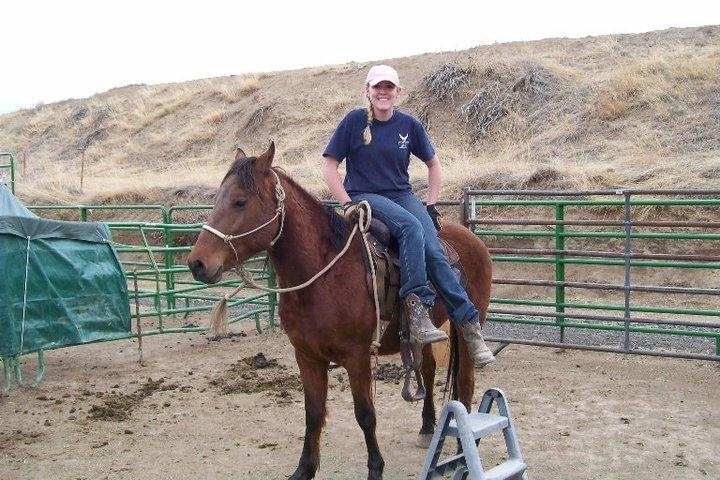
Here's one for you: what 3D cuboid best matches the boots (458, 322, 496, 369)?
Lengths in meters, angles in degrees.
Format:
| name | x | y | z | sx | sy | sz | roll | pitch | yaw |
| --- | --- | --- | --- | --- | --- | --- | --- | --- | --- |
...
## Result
| name | x | y | z | sx | sy | sz | roll | pitch | yaw |
| --- | --- | --- | --- | --- | --- | --- | --- | --- | --- |
| boots | 1.464 | 1.267 | 8.196 | 0.252 | 0.505 | 0.705 | -13 | 4 | -1 |

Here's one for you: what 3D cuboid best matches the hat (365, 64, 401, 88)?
| name | x | y | z | sx | sy | sz | roll | pitch | yaw |
| --- | --- | --- | --- | --- | --- | --- | --- | --- | --- |
| hat | 0.274 | -2.046 | 8.241 | 0.399 | 0.348 | 0.492 | -1 | 2 | 1 |

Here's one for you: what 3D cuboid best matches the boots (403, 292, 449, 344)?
| name | x | y | z | sx | sy | sz | roll | pitch | yaw |
| --- | --- | --- | --- | --- | --- | --- | --- | --- | --- |
| boots | 0.731 | 0.930 | 7.947 | 0.340 | 0.543 | 0.768 | 7 | -4 | -39 |
